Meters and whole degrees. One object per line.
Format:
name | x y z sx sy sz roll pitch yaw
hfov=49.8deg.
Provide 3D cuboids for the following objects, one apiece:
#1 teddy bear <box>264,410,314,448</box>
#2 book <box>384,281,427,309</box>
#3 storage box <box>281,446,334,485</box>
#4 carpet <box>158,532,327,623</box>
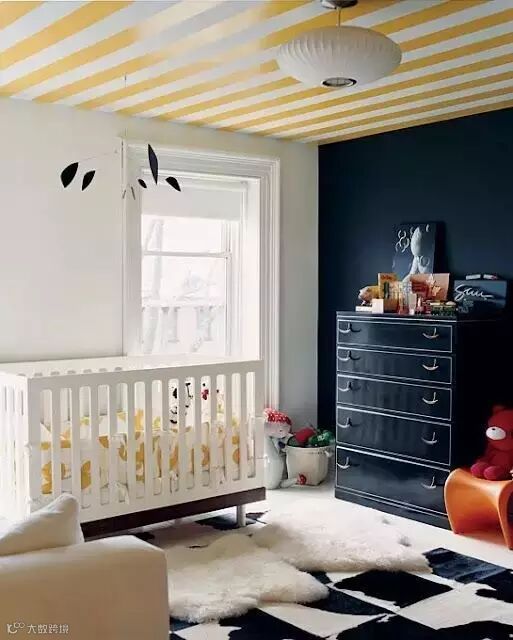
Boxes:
teddy bear | 0.209 0.745 3.857 0.324 0.108 0.265 12 -5 -24
book | 0.888 -0.146 3.286 0.257 0.188 0.157 -1 -4 14
storage box | 0.339 0.969 3.841 0.319 0.210 0.275 -1 -1 29
carpet | -0.109 1.041 2.269 0.609 0.063 0.645 1 -3 -22
